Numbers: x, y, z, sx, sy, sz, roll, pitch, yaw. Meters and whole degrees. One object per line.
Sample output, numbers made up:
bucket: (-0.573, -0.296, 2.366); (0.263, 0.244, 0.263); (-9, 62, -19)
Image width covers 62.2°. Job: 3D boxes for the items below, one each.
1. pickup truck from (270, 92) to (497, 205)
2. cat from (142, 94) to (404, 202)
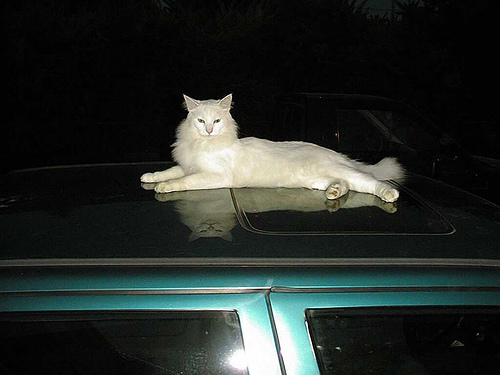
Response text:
pickup truck: (1.327, -0.397, 4.252); (1.865, 0.825, 1.228); (-1, 9, -2)
cat: (0.143, -0.198, 2.748); (1.418, 0.414, 0.815); (4, 4, 4)
